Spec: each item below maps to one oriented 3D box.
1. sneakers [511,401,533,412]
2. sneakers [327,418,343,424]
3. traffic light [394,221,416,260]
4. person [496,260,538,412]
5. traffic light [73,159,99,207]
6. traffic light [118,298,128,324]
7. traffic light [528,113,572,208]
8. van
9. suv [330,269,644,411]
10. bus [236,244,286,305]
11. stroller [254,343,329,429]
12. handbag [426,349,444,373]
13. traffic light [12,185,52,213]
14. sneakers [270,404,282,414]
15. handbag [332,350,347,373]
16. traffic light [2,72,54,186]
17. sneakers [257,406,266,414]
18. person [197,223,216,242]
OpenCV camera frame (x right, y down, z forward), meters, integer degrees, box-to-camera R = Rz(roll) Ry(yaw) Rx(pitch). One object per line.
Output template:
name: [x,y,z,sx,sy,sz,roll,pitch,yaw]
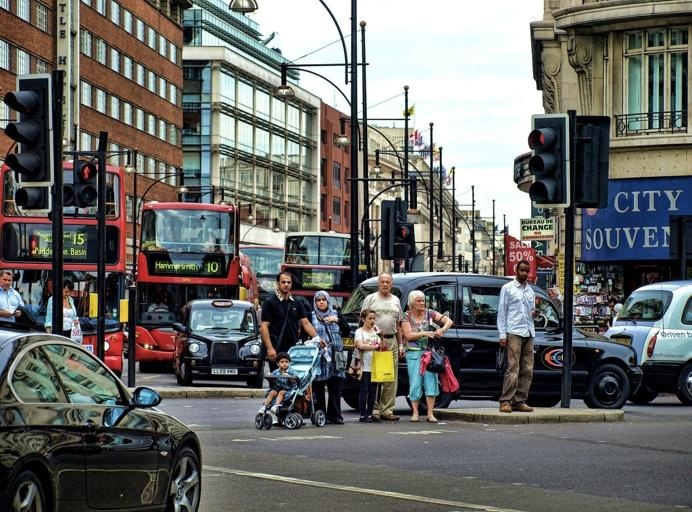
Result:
sneakers: [2.855,2.464,23.060,0.395,0.179,0.145,0,3,0]
sneakers: [-0.165,2.652,22.689,0.277,0.117,0.094,-2,2,8]
traffic light: [1.351,-0.355,33.058,0.500,0.887,1.020,-1,-3,3]
person: [2.742,1.298,22.781,0.573,2.445,0.719,-1,-2,7]
traffic light: [-4.414,-1.235,23.838,0.379,0.869,0.968,0,-3,-11]
traffic light: [-4.441,1.105,28.263,0.165,0.434,0.606,0,-3,-11]
traffic light: [3.198,-1.514,22.397,0.625,1.499,0.481,-1,-2,15]
van: [-2.925,1.947,32.121,1.437,1.207,2.519,1,-9,-10]
suv: [2.698,1.468,25.177,4.729,1.904,2.356,0,-1,-16]
bus: [-3.572,0.481,59.074,1.591,1.872,4.147,0,-5,-1]
stroller: [-0.944,2.079,22.494,0.998,1.561,1.405,-4,-8,31]
handbag: [1.447,1.708,22.936,0.345,0.448,0.207,5,-8,-37]
traffic light: [-4.203,-0.760,18.915,0.450,0.330,0.455,0,-3,-8]
sneakers: [-1.104,2.410,22.137,0.140,0.176,0.420,3,-3,5]
handbag: [-0.129,1.686,22.503,0.080,0.247,0.342,-4,-7,24]
traffic light: [-4.235,-1.693,18.841,0.605,1.544,0.596,0,-2,-13]
sneakers: [-1.345,2.423,22.152,0.115,0.142,0.338,6,-9,7]
person: [-3.800,-0.812,38.405,0.473,0.483,0.871,-1,13,-4]
